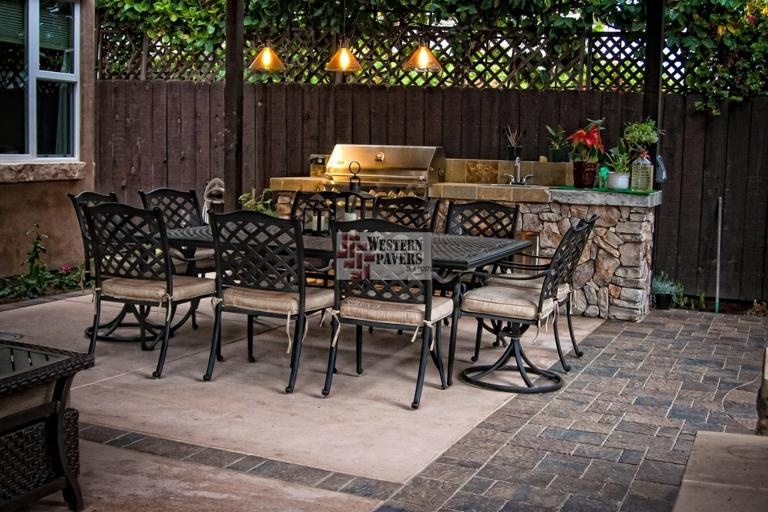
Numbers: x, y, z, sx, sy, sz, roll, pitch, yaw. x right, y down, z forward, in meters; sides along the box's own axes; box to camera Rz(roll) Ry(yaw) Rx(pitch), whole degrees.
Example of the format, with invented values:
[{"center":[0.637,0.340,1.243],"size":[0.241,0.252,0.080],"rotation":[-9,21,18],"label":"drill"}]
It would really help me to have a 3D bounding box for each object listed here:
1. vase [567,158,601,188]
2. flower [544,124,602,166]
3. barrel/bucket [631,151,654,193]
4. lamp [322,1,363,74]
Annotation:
[{"center":[2.140,-0.879,6.147],"size":[0.313,0.284,0.294],"rotation":[-1,1,-28],"label":"vase"},{"center":[2.093,-1.234,6.505],"size":[0.717,0.454,0.552],"rotation":[3,7,32],"label":"flower"},{"center":[2.702,-0.888,6.028],"size":[0.221,0.421,0.451],"rotation":[6,12,21],"label":"barrel/bucket"},{"center":[-0.504,-2.818,7.203],"size":[0.397,1.061,1.214],"rotation":[1,11,-4],"label":"lamp"}]
